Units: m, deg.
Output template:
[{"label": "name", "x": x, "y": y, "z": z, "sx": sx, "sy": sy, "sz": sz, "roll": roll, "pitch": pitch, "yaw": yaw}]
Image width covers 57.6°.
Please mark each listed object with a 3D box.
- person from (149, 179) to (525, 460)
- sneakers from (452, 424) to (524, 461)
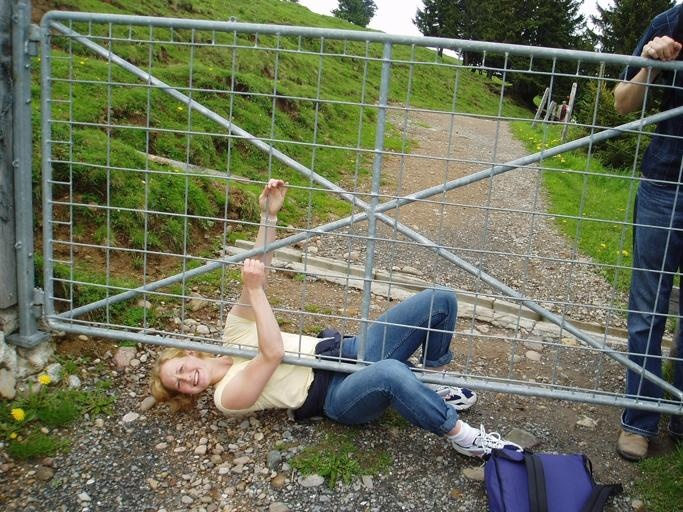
[{"label": "person", "x": 0.039, "y": 0.400, "z": 3.963, "sx": 2.339, "sy": 1.442, "sz": 0.920, "roll": 8, "pitch": 23, "yaw": 5}, {"label": "sneakers", "x": 0.934, "y": 1.139, "z": 3.827, "sx": 0.526, "sy": 0.210, "sz": 0.194, "roll": 5, "pitch": 60, "yaw": 18}]
